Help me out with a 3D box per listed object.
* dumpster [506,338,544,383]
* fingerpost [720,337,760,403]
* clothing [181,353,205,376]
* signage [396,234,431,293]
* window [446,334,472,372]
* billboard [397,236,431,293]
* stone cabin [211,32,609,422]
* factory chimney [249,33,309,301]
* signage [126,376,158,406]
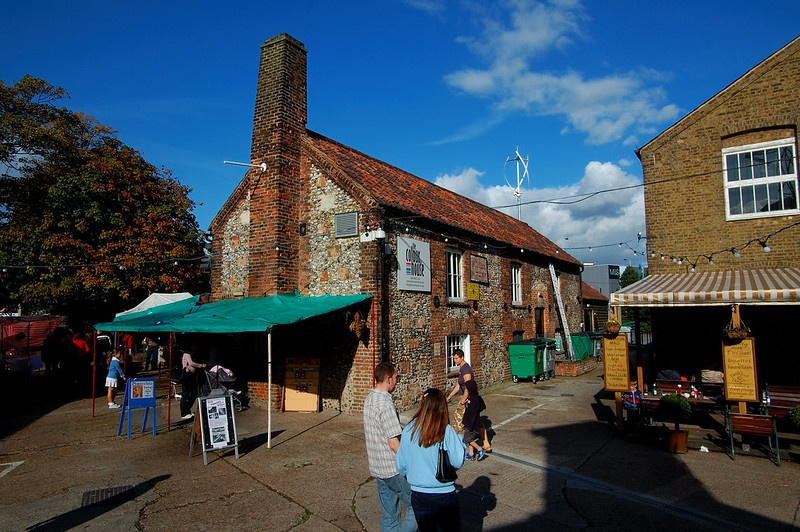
[{"bbox_3d":[5.474,4.098,24.426,1.550,2.101,2.317,-2,-10,22],"label":"dumpster"},{"bbox_3d":[9.113,2.770,15.031,0.804,1.686,0.304,-6,-10,24],"label":"fingerpost"},{"bbox_3d":[-6.344,2.967,17.124,0.643,0.562,0.627,-2,3,8],"label":"clothing"},{"bbox_3d":[0.426,-0.093,19.087,0.082,1.972,2.102,-3,-3,37],"label":"signage"},{"bbox_3d":[2.007,3.022,19.437,0.137,1.158,1.410,-7,-10,40],"label":"window"},{"bbox_3d":[0.431,-0.060,19.088,0.080,1.927,2.054,-3,-3,37],"label":"billboard"},{"bbox_3d":[-0.111,-0.583,26.814,9.782,10.734,17.776,-3,-5,40],"label":"stone cabin"},{"bbox_3d":[-4.159,-3.537,19.356,1.695,8.954,1.135,0,-9,-8],"label":"factory chimney"},{"bbox_3d":[-7.377,3.586,15.908,0.794,0.834,0.464,4,-11,-29],"label":"signage"}]
